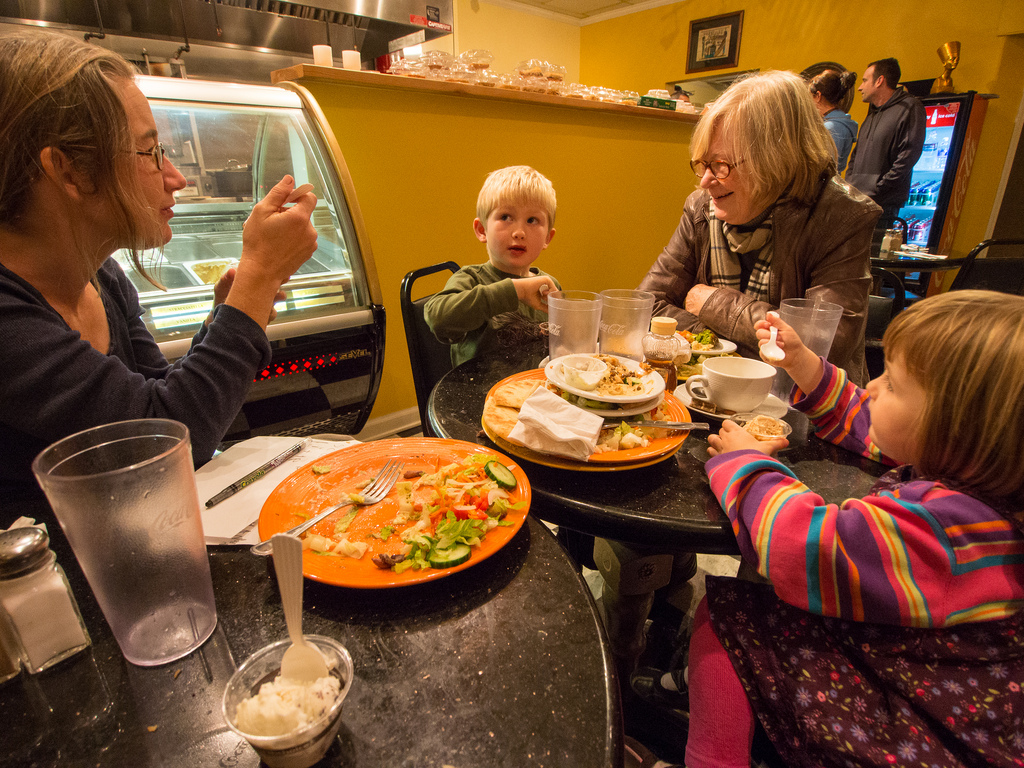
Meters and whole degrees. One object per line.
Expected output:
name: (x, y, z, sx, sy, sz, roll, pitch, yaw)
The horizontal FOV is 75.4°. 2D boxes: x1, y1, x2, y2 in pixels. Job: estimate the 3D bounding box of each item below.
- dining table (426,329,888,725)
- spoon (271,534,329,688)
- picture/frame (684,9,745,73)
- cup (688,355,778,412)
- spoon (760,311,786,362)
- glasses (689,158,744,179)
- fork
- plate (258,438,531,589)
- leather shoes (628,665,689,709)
dining table: (0.281, 0.364, 1.588, 0.805, 0.623, 0.824, -11, 30, -24)
spoon: (-0.299, 0.335, 0.981, 0.056, 0.275, 0.037, -7, 13, -3)
picture/frame: (2.079, -3.507, 6.751, 0.044, 0.602, 0.640, -18, 29, -35)
cup: (0.526, -0.015, 1.533, 0.138, 0.094, 0.120, -11, 24, -7)
spoon: (0.606, -0.100, 1.545, 0.043, 0.026, 0.128, -7, 68, 10)
glasses: (0.709, -0.718, 2.220, 0.111, 0.039, 0.114, -5, 21, -23)
fork: (-0.327, 0.231, 1.201, 0.037, 0.035, 0.233, 13, 35, 34)
plate: (-0.194, 0.239, 1.200, 0.270, 0.042, 0.288, -3, 30, -5)
leather shoes: (0.378, 0.773, 1.684, 0.164, 0.076, 0.060, 14, 34, 35)
